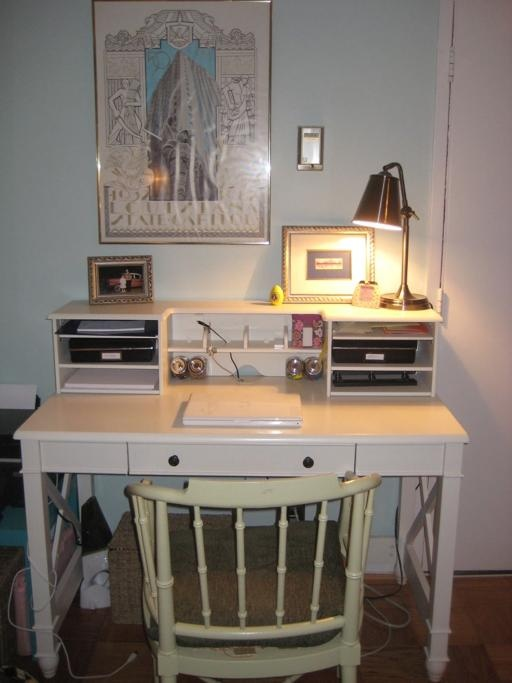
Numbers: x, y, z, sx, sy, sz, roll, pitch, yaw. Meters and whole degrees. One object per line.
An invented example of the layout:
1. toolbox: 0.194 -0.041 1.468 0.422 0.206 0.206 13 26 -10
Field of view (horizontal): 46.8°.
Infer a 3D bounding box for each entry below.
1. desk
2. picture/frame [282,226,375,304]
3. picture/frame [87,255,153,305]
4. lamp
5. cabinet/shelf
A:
1. desk: -0.047 0.927 2.349 1.827 1.247 0.788 0 26 2
2. picture/frame: 0.278 -0.304 2.275 0.290 0.260 0.023 -1 8 -1
3. picture/frame: -0.525 -0.232 2.252 0.176 0.157 0.013 -3 11 -14
4. lamp: 0.507 -0.382 2.142 0.275 0.515 0.388 3 13 14
5. cabinet/shelf: 0.031 0.112 2.236 1.506 0.446 0.338 -2 11 -16
